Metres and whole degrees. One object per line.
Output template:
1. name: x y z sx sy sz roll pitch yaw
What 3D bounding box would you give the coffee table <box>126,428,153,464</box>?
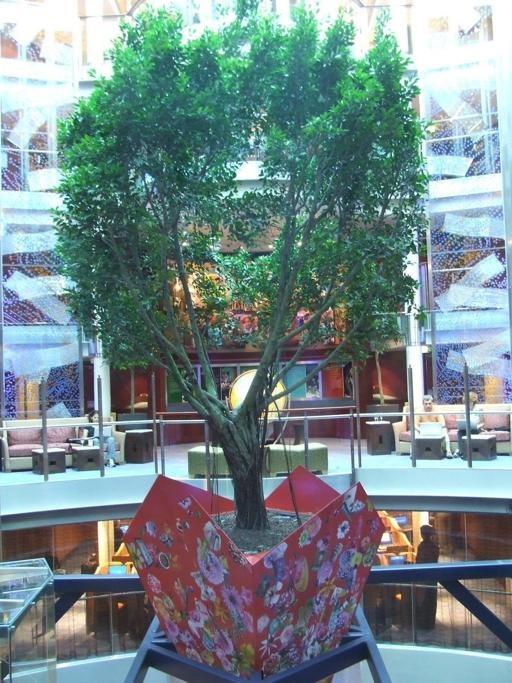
1. coffee table: -1.915 1.744 11.117 0.510 0.450 0.494 -3 -4 40

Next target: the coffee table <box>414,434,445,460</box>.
1. coffee table: 2.520 1.528 9.724 0.388 0.279 0.407 -5 -4 43

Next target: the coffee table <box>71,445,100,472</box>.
1. coffee table: -2.524 1.712 9.719 0.442 0.396 0.452 -5 -8 31

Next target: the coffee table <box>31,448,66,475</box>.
1. coffee table: -2.961 1.701 9.615 0.450 0.374 0.462 -11 -13 44

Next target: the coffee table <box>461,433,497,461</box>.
1. coffee table: 3.108 1.489 9.422 0.461 0.315 0.449 -3 -1 -44
